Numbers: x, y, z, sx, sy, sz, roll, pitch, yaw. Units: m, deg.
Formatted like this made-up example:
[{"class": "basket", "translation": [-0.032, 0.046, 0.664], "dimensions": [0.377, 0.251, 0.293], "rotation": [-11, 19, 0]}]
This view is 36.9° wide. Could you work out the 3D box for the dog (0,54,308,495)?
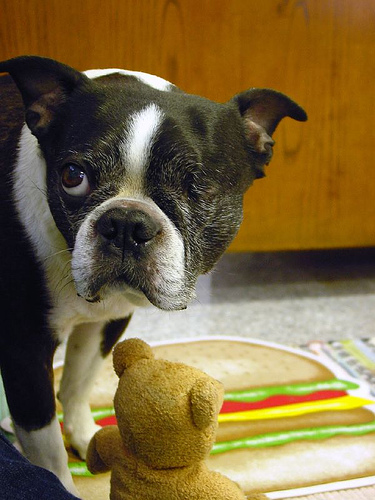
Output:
[{"class": "dog", "translation": [-0.093, -0.061, 1.136], "dimensions": [0.428, 0.488, 0.859], "rotation": [1, 3, -11]}]
